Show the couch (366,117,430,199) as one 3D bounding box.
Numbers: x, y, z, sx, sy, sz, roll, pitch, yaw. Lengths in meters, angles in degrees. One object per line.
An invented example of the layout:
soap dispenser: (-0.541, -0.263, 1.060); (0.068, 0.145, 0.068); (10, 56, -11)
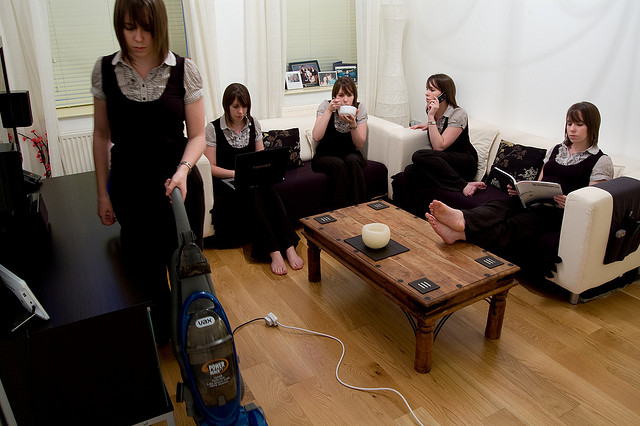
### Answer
couch: (0.745, -0.701, 4.443); (0.721, 0.763, 0.696); (-17, 36, -33)

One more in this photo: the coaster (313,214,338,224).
coaster: (0.040, 0.045, 3.236); (0.151, 0.013, 0.136); (-15, 29, -27)

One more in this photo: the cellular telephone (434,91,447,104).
cellular telephone: (1.176, -1.113, 4.041); (0.084, 0.079, 0.020); (33, 10, -33)

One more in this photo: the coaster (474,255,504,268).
coaster: (1.091, 0.309, 2.673); (0.140, 0.011, 0.122); (-14, 29, -24)

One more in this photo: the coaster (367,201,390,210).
coaster: (0.479, -0.062, 3.424); (0.122, 0.012, 0.138); (-16, 30, -28)

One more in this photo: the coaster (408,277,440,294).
coaster: (0.620, 0.430, 2.484); (0.138, 0.016, 0.124); (-15, 29, -27)

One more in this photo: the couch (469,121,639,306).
couch: (1.791, 0.044, 3.117); (0.667, 0.614, 1.237); (-14, 35, -16)

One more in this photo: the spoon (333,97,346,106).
spoon: (0.187, -1.088, 4.053); (0.052, 0.070, 0.071); (-13, 69, -28)

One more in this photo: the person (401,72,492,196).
person: (1.204, -0.772, 4.097); (0.647, 1.128, 0.636); (-1, 1, -18)

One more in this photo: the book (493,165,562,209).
book: (1.686, -0.291, 3.326); (0.418, 0.188, 0.537); (29, 20, 36)

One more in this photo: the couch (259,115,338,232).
couch: (-0.195, -0.339, 3.828); (0.919, 0.687, 0.504); (-14, 28, -27)

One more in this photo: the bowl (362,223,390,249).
bowl: (0.385, 0.163, 2.871); (0.183, 0.140, 0.187); (-1, 17, 0)

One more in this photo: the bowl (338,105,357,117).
bowl: (0.260, -0.976, 3.983); (0.154, 0.111, 0.097); (2, 26, 8)

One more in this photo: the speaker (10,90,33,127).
speaker: (-1.889, -0.655, 2.637); (0.115, 0.225, 0.197); (-18, 30, -30)
